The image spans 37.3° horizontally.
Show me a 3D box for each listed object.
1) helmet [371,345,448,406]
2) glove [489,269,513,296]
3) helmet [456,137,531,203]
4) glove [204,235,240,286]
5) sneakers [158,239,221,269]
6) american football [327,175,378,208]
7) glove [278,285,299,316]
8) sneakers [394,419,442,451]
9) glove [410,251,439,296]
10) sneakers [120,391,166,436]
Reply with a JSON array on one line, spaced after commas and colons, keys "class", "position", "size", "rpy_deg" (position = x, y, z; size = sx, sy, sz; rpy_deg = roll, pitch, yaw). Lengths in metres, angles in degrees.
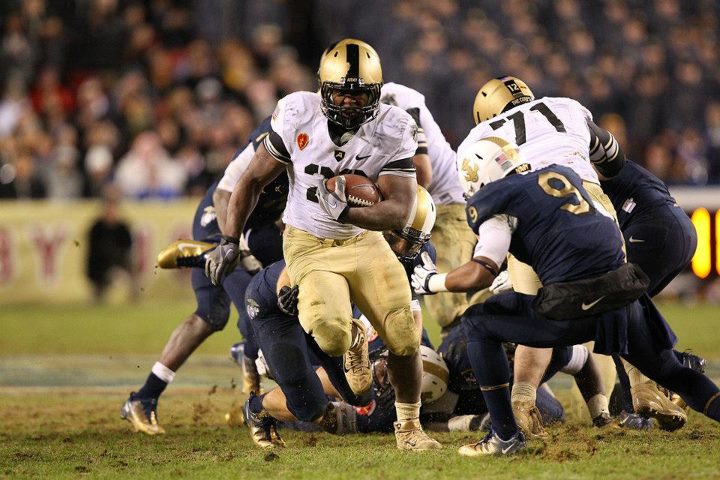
[{"class": "helmet", "position": [0.424, 1.134, 9.070], "size": [0.430, 0.436, 0.588], "rpy_deg": [-29, -42, 29]}, {"class": "glove", "position": [1.210, 0.382, 9.185], "size": [0.082, 0.227, 0.141], "rpy_deg": [41, 34, -2]}, {"class": "helmet", "position": [1.073, -0.638, 8.746], "size": [0.547, 0.476, 0.410], "rpy_deg": [-30, 12, 20]}, {"class": "glove", "position": [-1.094, 0.176, 9.018], "size": [0.172, 0.379, 0.297], "rpy_deg": [20, 14, -39]}, {"class": "sneakers", "position": [-1.488, 0.135, 9.158], "size": [0.593, 0.222, 0.266], "rpy_deg": [-5, 40, -7]}, {"class": "american football", "position": [-0.055, -0.376, 8.599], "size": [0.361, 0.226, 0.245], "rpy_deg": [14, 5, 0]}, {"class": "glove", "position": [-0.573, 0.489, 8.588], "size": [0.164, 0.223, 0.103], "rpy_deg": [38, 12, 17]}, {"class": "sneakers", "position": [0.466, 1.572, 8.581], "size": [0.372, 0.231, 0.237], "rpy_deg": [0, 7, 4]}, {"class": "glove", "position": [0.531, 0.289, 8.759], "size": [0.205, 0.332, 0.346], "rpy_deg": [0, 7, 1]}, {"class": "sneakers", "position": [-1.868, 1.516, 9.361], "size": [0.544, 0.271, 0.194], "rpy_deg": [30, 10, 34]}]
